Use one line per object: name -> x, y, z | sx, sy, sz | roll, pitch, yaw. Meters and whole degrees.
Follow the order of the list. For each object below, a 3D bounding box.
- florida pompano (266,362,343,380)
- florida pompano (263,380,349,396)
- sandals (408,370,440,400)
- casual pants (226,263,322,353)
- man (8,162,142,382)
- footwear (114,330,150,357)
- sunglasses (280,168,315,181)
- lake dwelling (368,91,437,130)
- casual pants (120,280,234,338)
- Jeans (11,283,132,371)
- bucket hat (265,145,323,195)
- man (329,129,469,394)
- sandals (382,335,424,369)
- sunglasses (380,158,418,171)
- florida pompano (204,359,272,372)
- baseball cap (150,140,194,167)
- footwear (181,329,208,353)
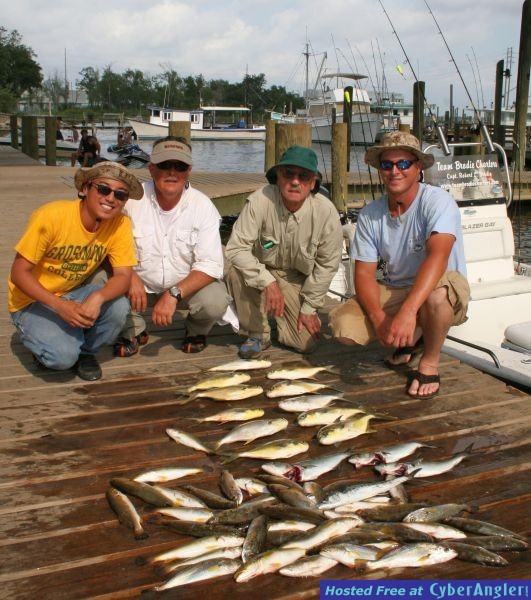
florida pompano -> 0.244, 0.416, 3.311 | 0.491, 0.076, 0.141 | -3, 6, -29
florida pompano -> 0.190, 0.473, 3.141 | 0.415, 0.084, 0.195 | -2, 5, -11
sandals -> 0.850, 0.466, 3.133 | 0.179, 0.128, 0.172 | 2, 6, 25
casual pants -> 0.039, 0.069, 3.892 | 0.495, 0.625, 0.224 | -10, 0, 0
man -> -1.054, -0.163, 3.256 | 0.755, 1.210, 0.525 | -5, 7, -28
footwear -> -0.871, 0.291, 3.679 | 0.104, 0.062, 0.241 | 0, 6, 15
sunglasses -> 0.197, -0.757, 3.473 | 0.209, 0.081, 0.099 | -1, 6, -3
lake dwelling -> 11.208, -14.309, 43.541 | 4.411, 1.632, 5.199 | -7, 21, -14
casual pants -> -0.469, 0.019, 3.683 | 0.553, 0.166, 0.502 | 2, 13, 24
Jeans -> -1.117, 0.110, 3.313 | 0.582, 0.559, 0.238 | -22, -30, -20
bucket hat -> 0.197, -0.858, 3.624 | 0.341, 0.178, 0.381 | 13, -14, 13
man -> 0.813, -0.228, 3.325 | 0.701, 1.467, 0.739 | -5, 7, -26
sandals -> 0.868, 0.336, 3.533 | 0.325, 0.108, 0.082 | -38, -42, 20
sunglasses -> 0.747, -0.754, 3.221 | 0.179, 0.070, 0.066 | 0, 6, 11
florida pompano -> -0.146, 0.392, 3.369 | 0.397, 0.065, 0.114 | -3, 6, -23
baseball cap -> -0.588, -0.907, 3.547 | 0.253, 0.168, 0.287 | -2, 5, -7
footwear -> -0.467, 0.276, 3.751 | 0.203, 0.146, 0.439 | 1, 0, 2
